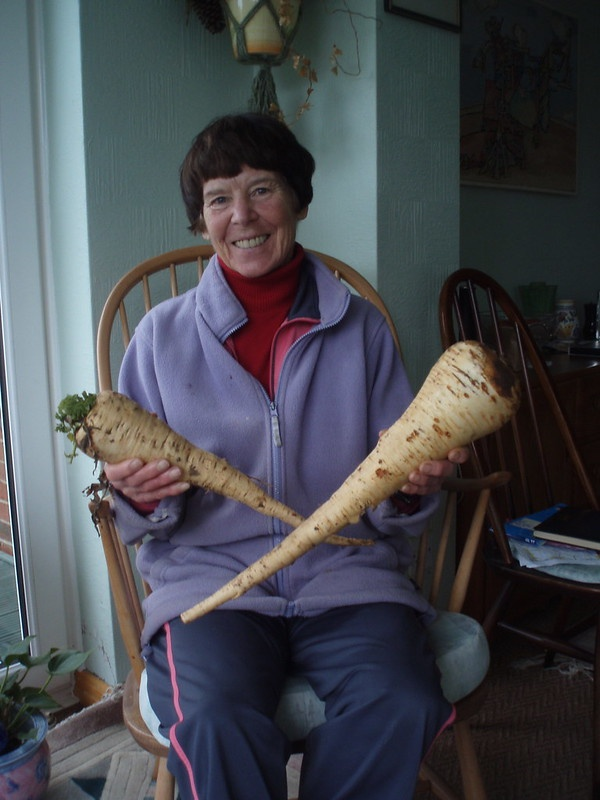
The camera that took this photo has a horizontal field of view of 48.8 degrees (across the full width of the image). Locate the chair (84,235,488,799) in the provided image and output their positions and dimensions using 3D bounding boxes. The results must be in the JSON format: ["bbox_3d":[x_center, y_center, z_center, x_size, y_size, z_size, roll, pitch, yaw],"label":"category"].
[{"bbox_3d":[-0.017,0.205,1.265,0.715,1.239,0.703,-1,9,0],"label":"chair"}]

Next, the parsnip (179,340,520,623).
[{"bbox_3d":[0.008,0.091,1.096,0.431,0.412,0.595,11,11,26],"label":"parsnip"}]

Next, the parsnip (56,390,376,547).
[{"bbox_3d":[-0.038,0.138,1.087,0.674,0.148,0.136,23,-42,-17],"label":"parsnip"}]

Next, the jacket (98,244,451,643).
[{"bbox_3d":[-0.050,0.083,1.107,0.381,0.731,0.386,-8,12,-32],"label":"jacket"}]
